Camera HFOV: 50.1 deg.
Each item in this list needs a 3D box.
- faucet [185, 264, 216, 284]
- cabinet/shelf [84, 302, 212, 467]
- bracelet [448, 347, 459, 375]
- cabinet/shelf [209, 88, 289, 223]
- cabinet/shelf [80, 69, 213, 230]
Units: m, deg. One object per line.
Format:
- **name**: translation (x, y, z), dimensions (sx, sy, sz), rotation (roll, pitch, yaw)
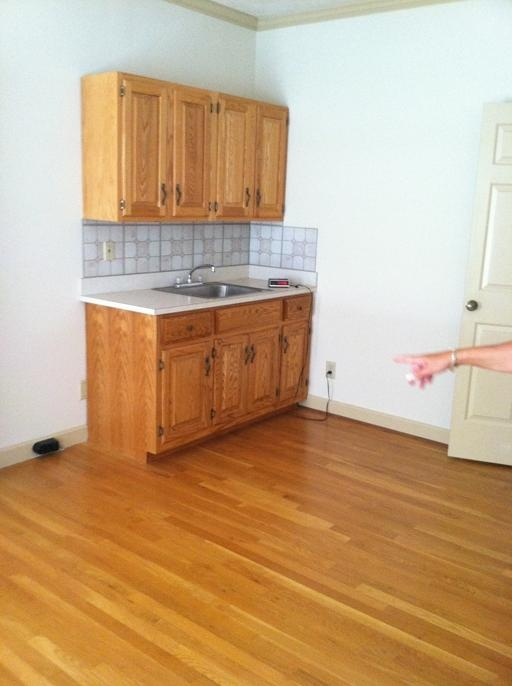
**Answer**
- **faucet**: translation (-0.394, -0.480, 3.807), dimensions (0.190, 0.114, 0.122), rotation (-2, 5, 19)
- **cabinet/shelf**: translation (-0.601, 0.202, 3.160), dimensions (0.564, 0.815, 0.487), rotation (9, 11, 37)
- **bracelet**: translation (0.409, 0.037, 1.122), dimensions (0.019, 0.050, 0.036), rotation (2, -1, 1)
- **cabinet/shelf**: translation (-0.147, -1.258, 3.734), dimensions (0.397, 0.765, 0.837), rotation (15, 22, 32)
- **cabinet/shelf**: translation (-0.603, -1.090, 3.125), dimensions (0.378, 0.710, 0.771), rotation (13, 20, 30)
